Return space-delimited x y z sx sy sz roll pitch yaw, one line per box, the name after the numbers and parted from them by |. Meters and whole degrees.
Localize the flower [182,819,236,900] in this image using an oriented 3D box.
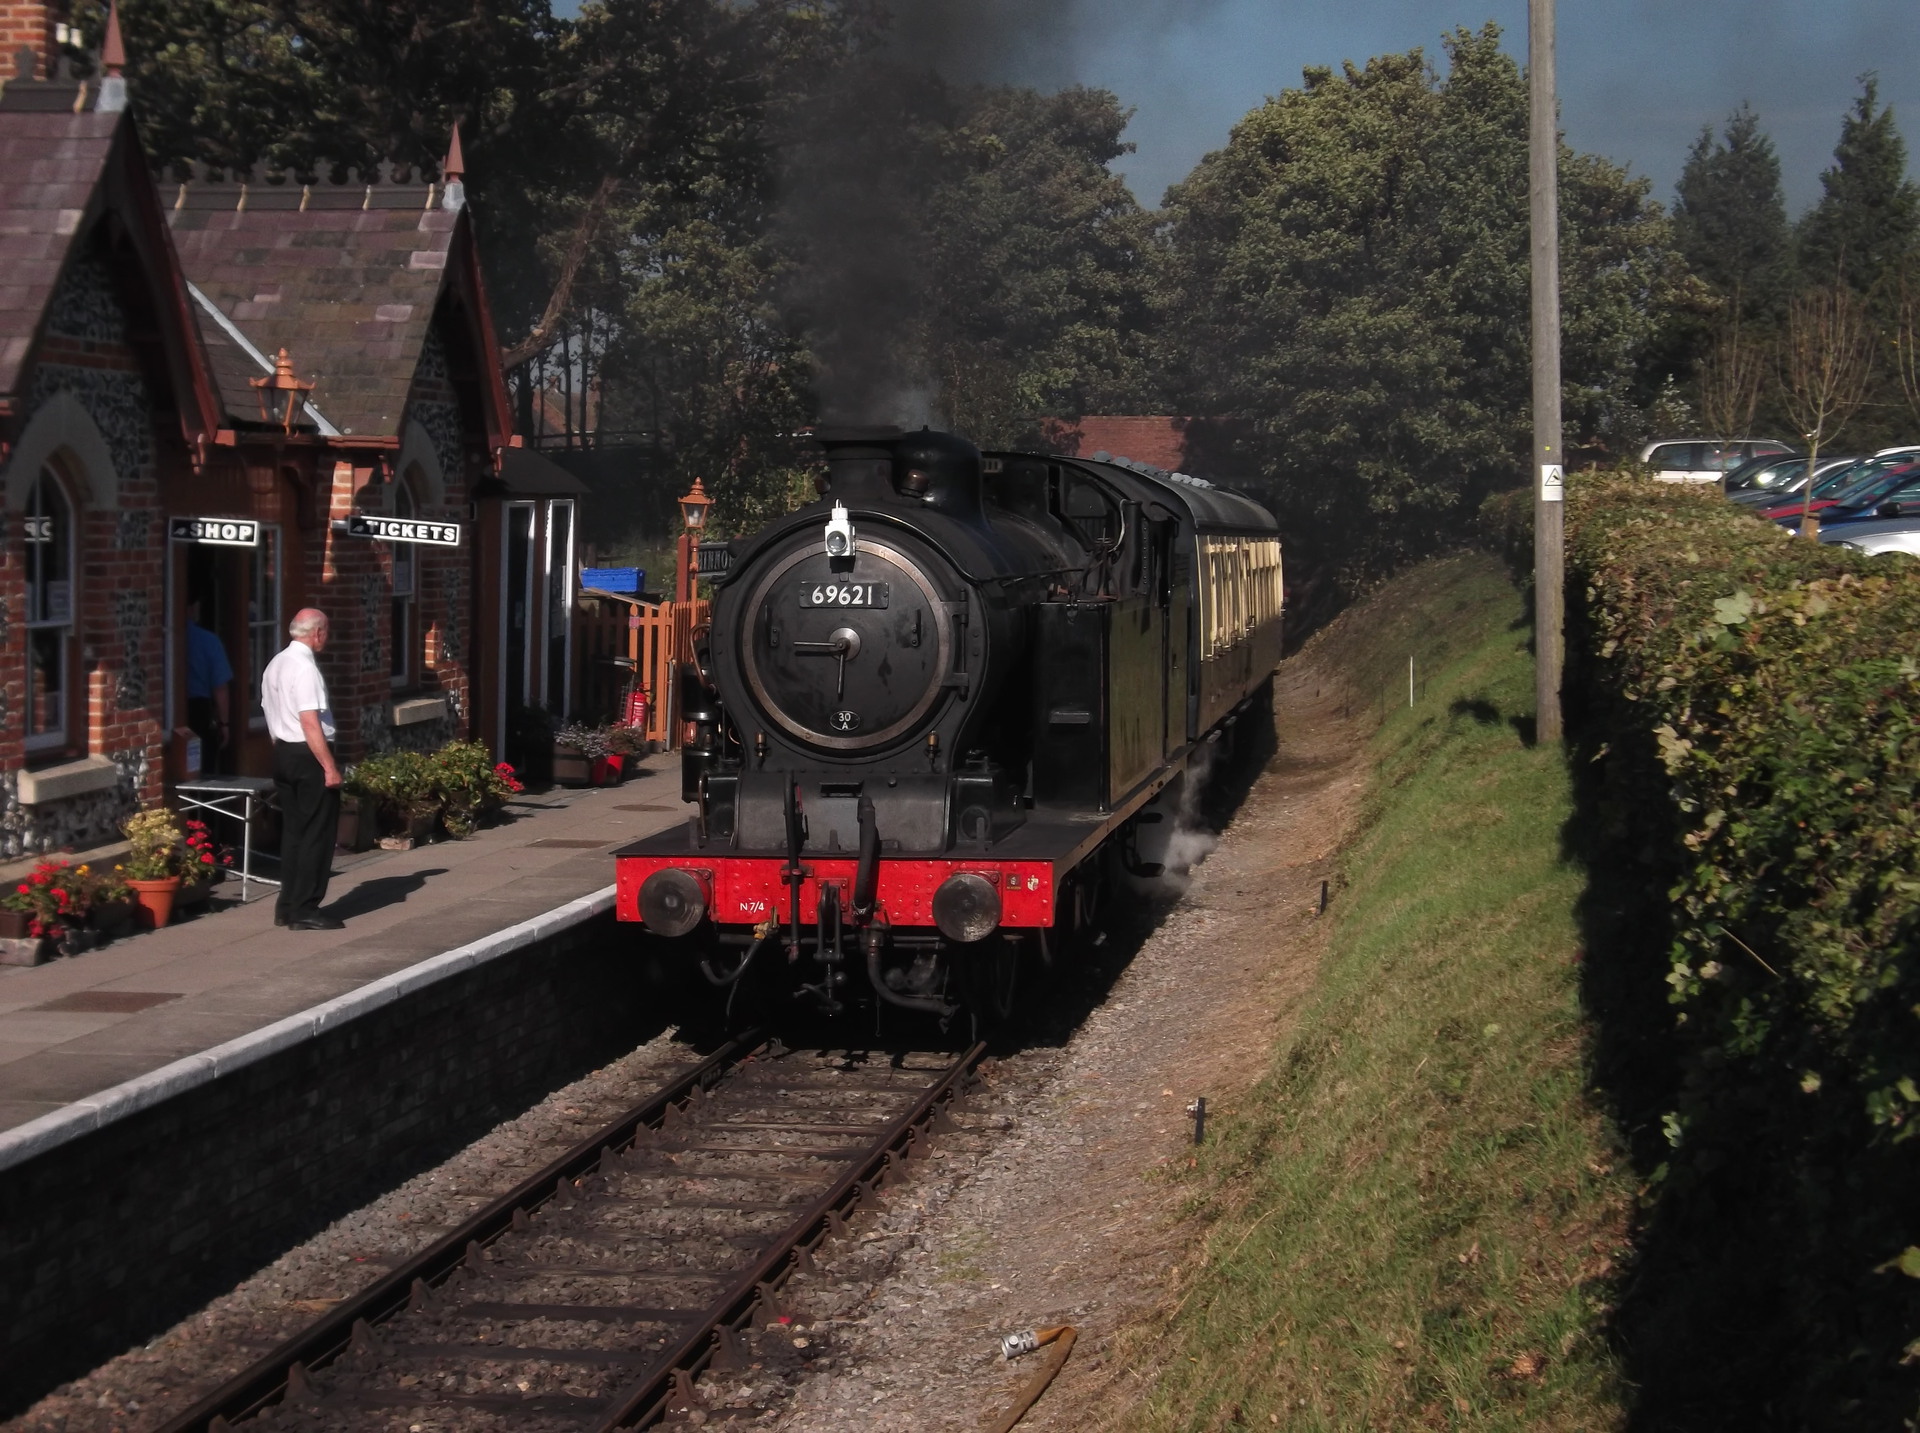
-5.920 1.090 14.247 0.432 0.441 0.644 2 2 -5 | flower

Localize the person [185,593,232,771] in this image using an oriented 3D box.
-6.429 -0.157 15.717 0.318 1.304 0.852 -1 4 -16 | person

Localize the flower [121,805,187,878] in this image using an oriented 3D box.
-6.046 0.970 13.726 0.351 0.482 0.519 1 -14 -9 | flower

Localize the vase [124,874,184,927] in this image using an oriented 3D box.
-5.873 1.327 13.392 0.294 0.296 0.302 0 0 44 | vase

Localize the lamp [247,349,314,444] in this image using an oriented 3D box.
-5.933 -2.847 16.135 0.392 0.830 1.446 -2 5 -19 | lamp

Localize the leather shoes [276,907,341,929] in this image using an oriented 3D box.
-4.759 1.455 13.424 0.456 0.238 0.186 -1 3 3 | leather shoes

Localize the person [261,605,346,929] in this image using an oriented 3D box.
-4.804 0.366 13.400 0.486 2.306 0.765 -2 4 -23 | person
